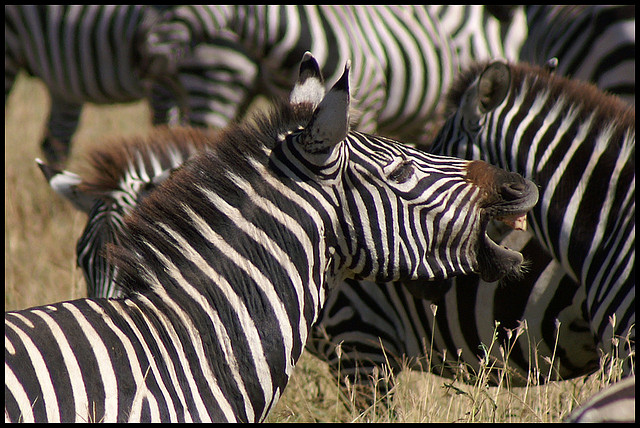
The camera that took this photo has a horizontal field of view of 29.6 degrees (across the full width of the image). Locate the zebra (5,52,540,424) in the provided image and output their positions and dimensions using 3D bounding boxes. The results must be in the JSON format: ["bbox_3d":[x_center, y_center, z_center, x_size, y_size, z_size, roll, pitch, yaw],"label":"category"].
[{"bbox_3d":[-0.278,0.259,9.337,3.265,2.499,1.027,-22,24,-2],"label":"zebra"}]
